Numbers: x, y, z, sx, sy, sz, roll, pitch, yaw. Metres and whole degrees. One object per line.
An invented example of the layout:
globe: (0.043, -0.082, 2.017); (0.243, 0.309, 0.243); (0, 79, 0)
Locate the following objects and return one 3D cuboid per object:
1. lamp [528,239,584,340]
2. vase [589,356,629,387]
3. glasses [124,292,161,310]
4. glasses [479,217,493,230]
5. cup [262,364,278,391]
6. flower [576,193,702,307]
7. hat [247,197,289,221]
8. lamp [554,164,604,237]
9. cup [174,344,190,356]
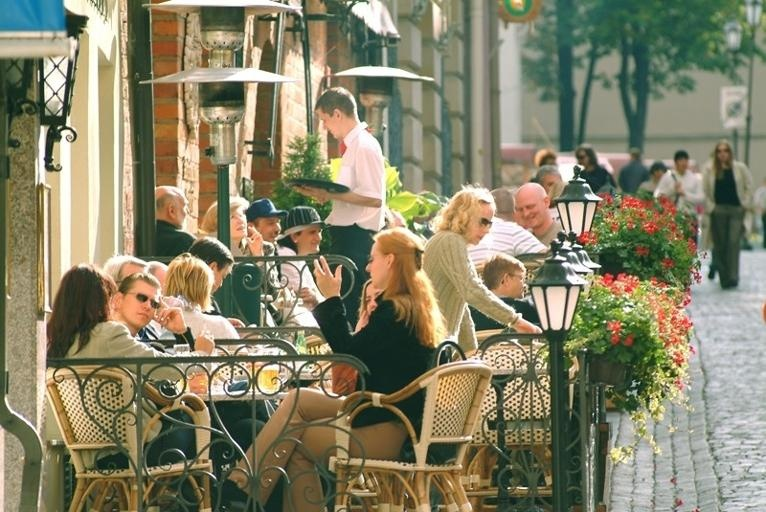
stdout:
lamp: (1.365, 0.263, 17.083); (0.569, 0.789, 0.521); (-1, 5, 11)
vase: (1.900, 0.921, 18.373); (0.268, 0.173, 0.263); (1, 2, -1)
glasses: (-1.859, 0.330, 17.575); (0.091, 0.122, 0.219); (2, 3, 43)
glasses: (0.903, -0.301, 19.012); (0.093, 0.093, 0.031); (5, -9, -9)
cup: (-0.900, 0.945, 17.775); (0.195, 0.213, 0.190); (0, -4, 0)
flower: (2.801, -0.232, 22.831); (1.183, 0.993, 1.160); (34, -12, -32)
hat: (-1.173, -0.497, 22.310); (0.336, 0.190, 0.220); (0, 6, 10)
lamp: (1.837, -0.529, 20.369); (0.418, 0.644, 0.599); (0, 2, -6)
cup: (-1.602, 0.718, 17.560); (0.100, 0.071, 0.097); (0, 0, 0)
